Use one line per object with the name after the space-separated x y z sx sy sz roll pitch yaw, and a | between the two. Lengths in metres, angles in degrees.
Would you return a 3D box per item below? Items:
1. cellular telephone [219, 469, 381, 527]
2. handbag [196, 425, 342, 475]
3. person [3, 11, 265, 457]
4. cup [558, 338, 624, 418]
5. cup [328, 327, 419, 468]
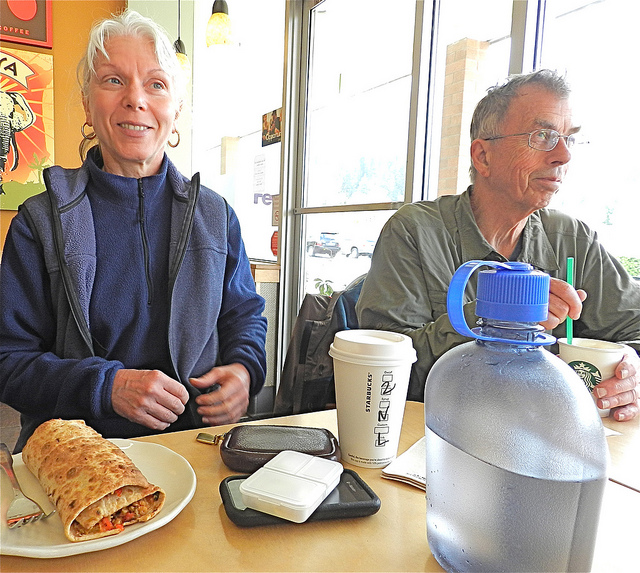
-0.030 0.286 0.717 0.204 0.031 0.127 3 2 -18 | cellular telephone
-0.063 0.249 0.813 0.137 0.033 0.079 3 6 -5 | handbag
-0.464 -0.172 1.382 0.634 1.123 0.541 1 8 -7 | person
0.573 0.190 1.092 0.113 0.124 0.110 8 -3 0 | cup
0.080 0.178 0.850 0.142 0.200 0.143 2 0 0 | cup
